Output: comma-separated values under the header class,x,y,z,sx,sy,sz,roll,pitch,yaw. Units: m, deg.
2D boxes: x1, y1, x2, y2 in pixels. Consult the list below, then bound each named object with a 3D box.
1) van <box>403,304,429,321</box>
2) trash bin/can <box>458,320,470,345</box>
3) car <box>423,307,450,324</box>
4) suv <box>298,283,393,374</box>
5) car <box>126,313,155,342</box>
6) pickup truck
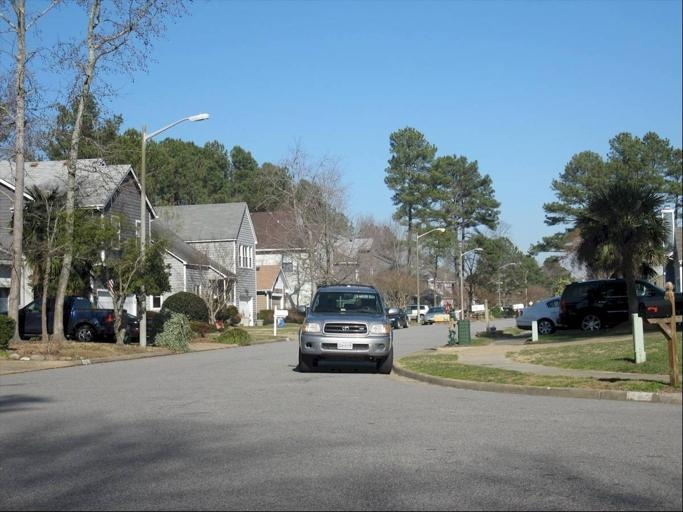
class,x,y,z,sx,sy,sz,roll,pitch,yaw
van,8.323,6.091,75.529,3.228,1.901,2.167,2,-4,-8
trash bin/can,5.024,3.155,28.510,0.463,0.989,0.991,-1,-7,8
car,9.319,5.927,68.786,2.299,1.967,5.875,-1,-9,10
suv,0.086,1.923,18.597,2.462,2.448,2.156,2,-7,-11
car,-9.099,3.306,31.343,1.391,1.529,2.278,0,1,-21
pickup truck,-11.279,2.842,29.609,4.198,1.740,2.108,2,-5,5
